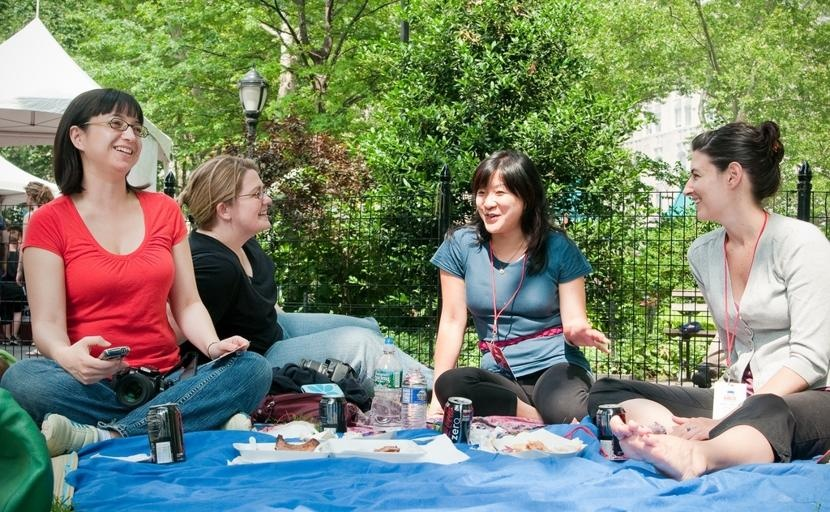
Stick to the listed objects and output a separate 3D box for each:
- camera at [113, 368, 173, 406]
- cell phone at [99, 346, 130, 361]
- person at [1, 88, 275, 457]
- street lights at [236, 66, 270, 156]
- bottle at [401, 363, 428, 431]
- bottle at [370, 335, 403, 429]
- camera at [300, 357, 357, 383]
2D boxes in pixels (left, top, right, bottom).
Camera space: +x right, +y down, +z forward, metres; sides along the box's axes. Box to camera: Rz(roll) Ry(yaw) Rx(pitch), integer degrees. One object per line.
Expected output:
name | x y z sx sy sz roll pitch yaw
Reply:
camera | -2.062 0.998 5.703 0.407 0.317 0.146 -1 -2 -15
cell phone | -2.147 0.690 5.358 0.207 0.049 0.101 -10 -27 -7
person | -2.240 0.063 5.763 1.606 2.700 0.773 0 -3 -31
street lights | -2.151 -1.967 10.401 0.458 1.310 0.491 3 -1 -18
bottle | -0.010 1.155 6.088 0.202 0.463 0.312 -2 -2 -2
bottle | -0.244 1.067 6.421 0.230 0.765 0.233 0 1 0
camera | -0.744 0.984 6.561 0.287 0.105 0.263 18 0 -2
